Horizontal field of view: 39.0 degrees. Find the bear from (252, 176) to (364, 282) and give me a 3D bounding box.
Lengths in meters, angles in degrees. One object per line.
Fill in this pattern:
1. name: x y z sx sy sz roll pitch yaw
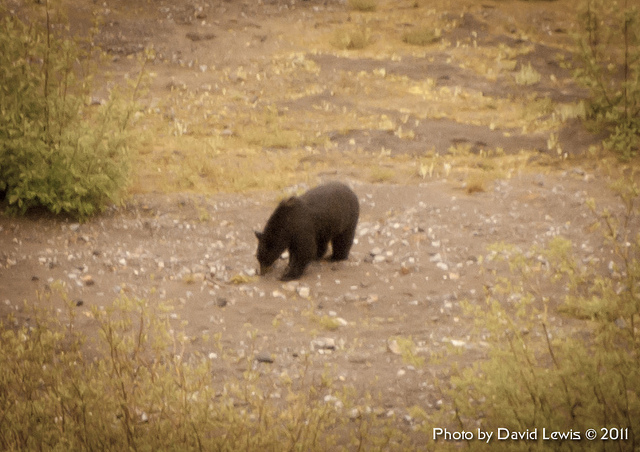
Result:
1. bear: -0.291 0.083 20.121 2.561 1.956 1.296 -21 32 -37
